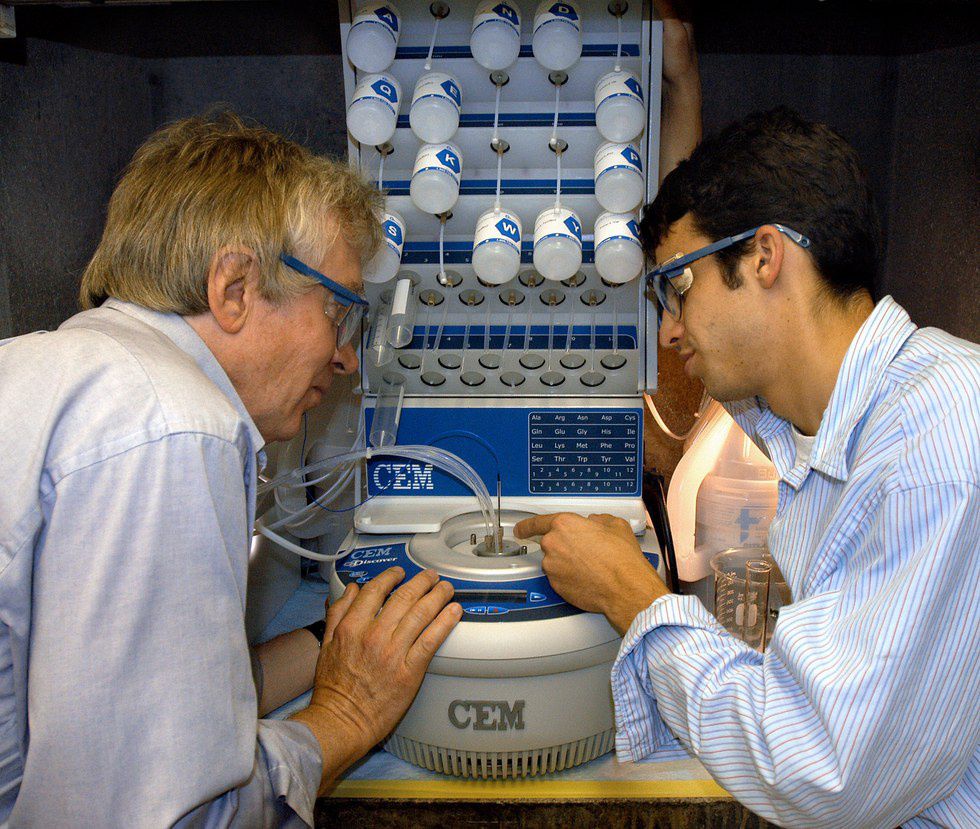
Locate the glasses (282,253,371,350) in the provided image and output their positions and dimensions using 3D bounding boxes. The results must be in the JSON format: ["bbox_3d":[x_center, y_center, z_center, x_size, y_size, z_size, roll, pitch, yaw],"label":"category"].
[{"bbox_3d":[-0.262,-0.190,1.430,0.111,0.035,0.112,40,-9,6],"label":"glasses"}]
